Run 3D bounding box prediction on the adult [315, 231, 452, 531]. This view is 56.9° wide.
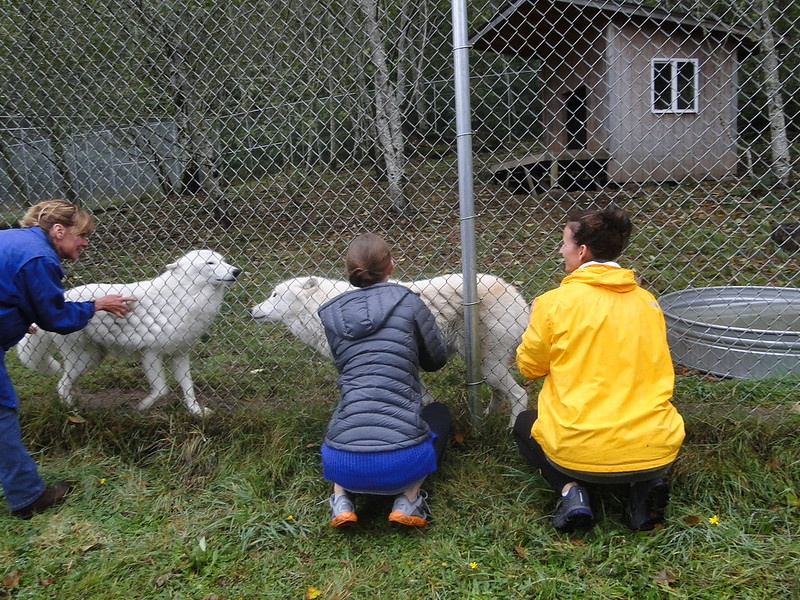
[{"bbox_3d":[-0.089,0.541,4.918,0.855,1.847,0.808,0,14,1],"label":"adult"}]

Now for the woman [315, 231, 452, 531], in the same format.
[{"bbox_3d":[-0.091,0.540,4.919,0.860,1.847,0.808,0,14,1],"label":"woman"}]

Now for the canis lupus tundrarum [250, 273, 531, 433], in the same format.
[{"bbox_3d":[-0.082,0.474,5.878,2.731,1.405,0.712,-6,14,-35],"label":"canis lupus tundrarum"}]

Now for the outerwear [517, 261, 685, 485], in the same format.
[{"bbox_3d":[1.236,0.426,5.112,1.274,1.642,1.215,-2,3,5],"label":"outerwear"}]

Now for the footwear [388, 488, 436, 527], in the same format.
[{"bbox_3d":[0.074,1.367,4.855,0.145,0.157,0.341,1,0,22],"label":"footwear"}]

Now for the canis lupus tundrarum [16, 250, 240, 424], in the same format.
[{"bbox_3d":[-2.298,0.331,6.265,1.934,1.356,0.616,-3,-3,9],"label":"canis lupus tundrarum"}]

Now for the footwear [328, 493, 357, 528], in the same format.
[{"bbox_3d":[-0.377,1.355,4.800,0.154,0.170,0.199,-2,14,-10],"label":"footwear"}]
